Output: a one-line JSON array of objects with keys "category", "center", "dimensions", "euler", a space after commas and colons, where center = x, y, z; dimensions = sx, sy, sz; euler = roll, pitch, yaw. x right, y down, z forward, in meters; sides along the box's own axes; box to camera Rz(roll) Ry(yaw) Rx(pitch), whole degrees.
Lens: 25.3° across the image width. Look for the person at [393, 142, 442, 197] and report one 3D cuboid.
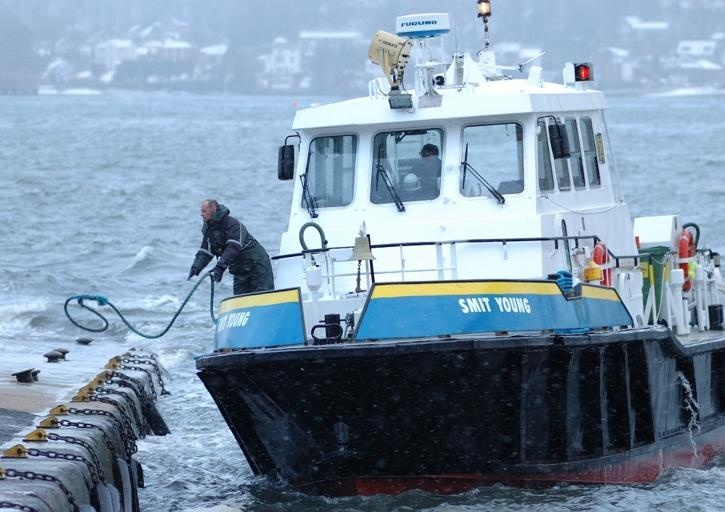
[{"category": "person", "center": [0.950, -1.357, 26.137], "dimensions": [0.704, 0.831, 0.249], "euler": [2, -3, 16]}]
